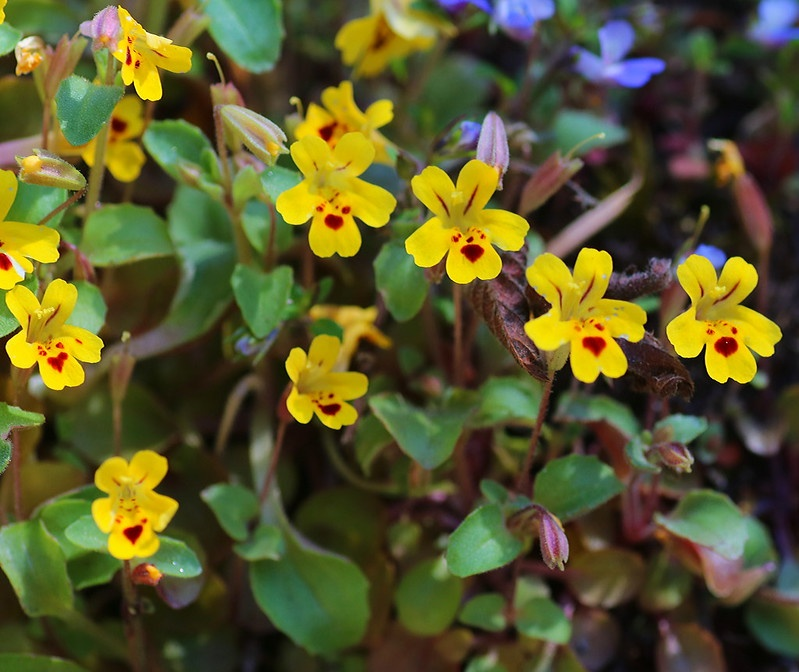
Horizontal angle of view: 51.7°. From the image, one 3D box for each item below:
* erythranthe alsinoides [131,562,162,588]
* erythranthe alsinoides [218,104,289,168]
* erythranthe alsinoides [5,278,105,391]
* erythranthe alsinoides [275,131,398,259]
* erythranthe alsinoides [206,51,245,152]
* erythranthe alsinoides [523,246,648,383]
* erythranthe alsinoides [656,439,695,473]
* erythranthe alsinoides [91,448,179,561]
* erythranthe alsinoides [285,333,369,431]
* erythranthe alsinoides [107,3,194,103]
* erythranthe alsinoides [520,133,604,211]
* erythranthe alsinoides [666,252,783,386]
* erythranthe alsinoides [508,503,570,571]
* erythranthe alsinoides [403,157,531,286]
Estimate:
[{"bbox_3d":[-0.257,0.239,0.842,0.033,0.024,0.014,3,28,44],"label":"erythranthe alsinoides"},{"bbox_3d":[-0.148,-0.207,0.841,0.084,0.039,0.045,39,32,10],"label":"erythranthe alsinoides"},{"bbox_3d":[-0.343,-0.001,0.808,0.082,0.060,0.093,-30,65,-30],"label":"erythranthe alsinoides"},{"bbox_3d":[-0.069,-0.142,0.832,0.112,0.082,0.100,-32,66,-31],"label":"erythranthe alsinoides"},{"bbox_3d":[-0.195,-0.261,0.930,0.029,0.112,0.026,-7,8,-13],"label":"erythranthe alsinoides"},{"bbox_3d":[0.175,-0.018,0.792,0.126,0.056,0.132,21,52,2],"label":"erythranthe alsinoides"},{"bbox_3d":[0.286,0.126,0.858,0.037,0.030,0.013,24,13,25],"label":"erythranthe alsinoides"},{"bbox_3d":[-0.260,0.179,0.819,0.076,0.096,0.085,-13,56,-21],"label":"erythranthe alsinoides"},{"bbox_3d":[-0.076,0.049,0.869,0.085,0.078,0.079,1,52,-12],"label":"erythranthe alsinoides"},{"bbox_3d":[-0.254,-0.283,0.834,0.075,0.076,0.065,-27,62,-29],"label":"erythranthe alsinoides"},{"bbox_3d":[0.182,-0.191,0.955,0.031,0.140,0.036,15,51,-32],"label":"erythranthe alsinoides"},{"bbox_3d":[0.319,-0.017,0.865,0.057,0.155,0.151,-2,10,-10],"label":"erythranthe alsinoides"},{"bbox_3d":[0.145,0.211,0.858,0.036,0.110,0.041,-30,84,-10],"label":"erythranthe alsinoides"},{"bbox_3d":[0.065,-0.096,0.831,0.118,0.124,0.106,8,51,-6],"label":"erythranthe alsinoides"}]
